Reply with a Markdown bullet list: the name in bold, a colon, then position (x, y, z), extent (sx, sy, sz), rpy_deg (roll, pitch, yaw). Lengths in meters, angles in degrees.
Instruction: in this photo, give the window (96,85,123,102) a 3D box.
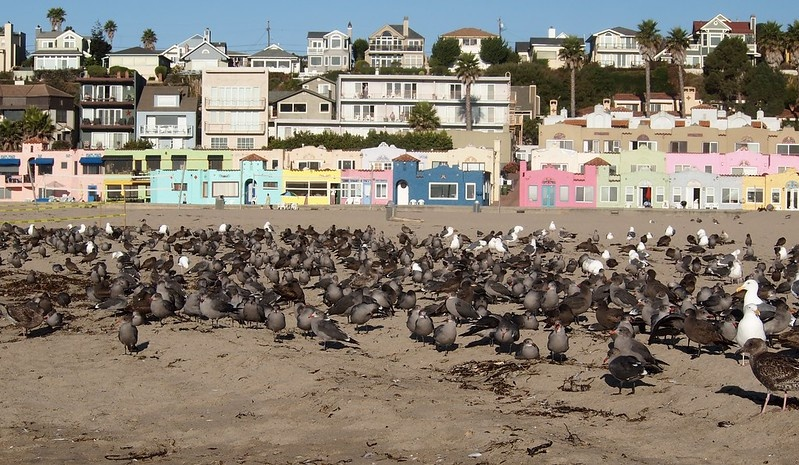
- **window**: position (-36.710, -17.519, 155.937), extent (2.592, 1.653, 0.206), rpy_deg (1, 6, 13)
